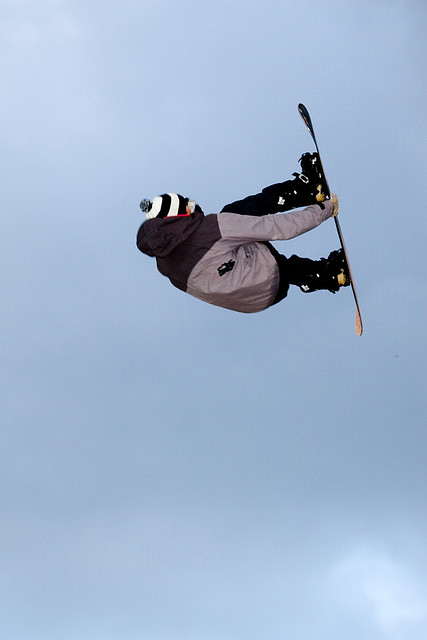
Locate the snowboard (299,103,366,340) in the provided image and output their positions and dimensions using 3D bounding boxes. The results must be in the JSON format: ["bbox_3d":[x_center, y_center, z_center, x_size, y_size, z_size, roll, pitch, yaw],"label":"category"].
[{"bbox_3d":[0.725,-0.637,6.720,0.282,1.750,0.201,-15,5,-9],"label":"snowboard"}]

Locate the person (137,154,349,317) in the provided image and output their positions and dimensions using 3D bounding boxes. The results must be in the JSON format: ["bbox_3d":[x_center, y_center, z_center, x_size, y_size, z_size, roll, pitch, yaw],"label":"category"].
[{"bbox_3d":[0.279,-0.661,7.282,1.563,1.079,0.841,11,4,2],"label":"person"}]
